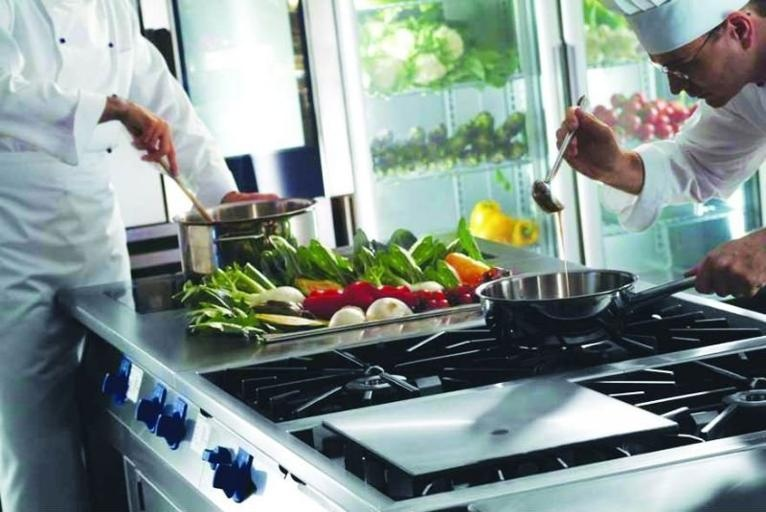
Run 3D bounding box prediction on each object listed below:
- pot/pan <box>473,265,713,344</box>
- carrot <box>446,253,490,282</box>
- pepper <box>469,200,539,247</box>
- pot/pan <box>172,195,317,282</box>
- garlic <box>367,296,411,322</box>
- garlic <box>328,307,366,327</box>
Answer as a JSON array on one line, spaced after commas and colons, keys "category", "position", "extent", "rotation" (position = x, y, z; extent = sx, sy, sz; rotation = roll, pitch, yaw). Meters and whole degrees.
[{"category": "pot/pan", "position": [0.366, 0.086, 1.118], "extent": [0.329, 0.085, 0.166], "rotation": [-2, 6, 11]}, {"category": "carrot", "position": [0.201, 0.033, 1.532], "extent": [0.054, 0.032, 0.099], "rotation": [-43, 46, -20]}, {"category": "pepper", "position": [0.598, -0.162, 3.168], "extent": [0.254, 0.169, 0.132], "rotation": [-4, -22, -9]}, {"category": "pot/pan", "position": [-0.337, -0.041, 1.646], "extent": [0.395, 0.157, 0.426], "rotation": [-3, 13, 1]}, {"category": "garlic", "position": [0.005, 0.103, 1.324], "extent": [0.064, 0.034, 0.052], "rotation": [-11, 12, -35]}, {"category": "garlic", "position": [-0.075, 0.124, 1.301], "extent": [0.055, 0.031, 0.043], "rotation": [-22, 14, -22]}]
